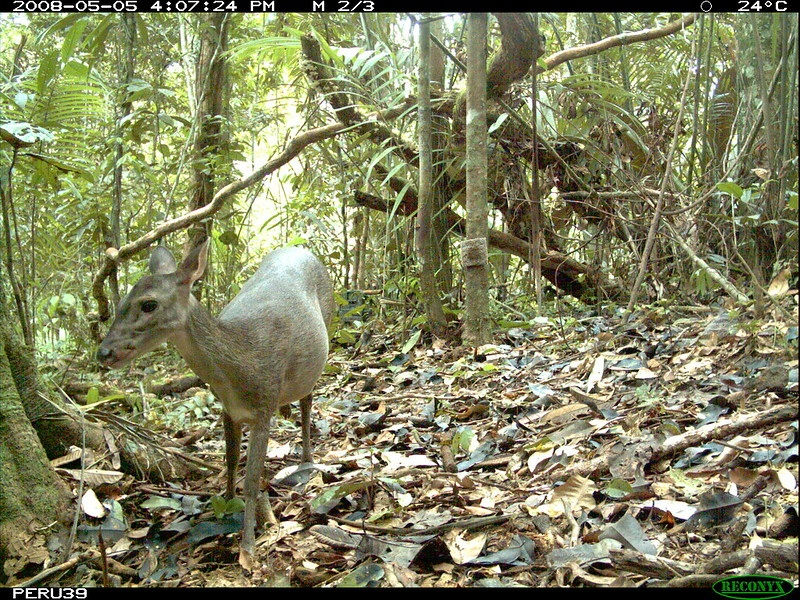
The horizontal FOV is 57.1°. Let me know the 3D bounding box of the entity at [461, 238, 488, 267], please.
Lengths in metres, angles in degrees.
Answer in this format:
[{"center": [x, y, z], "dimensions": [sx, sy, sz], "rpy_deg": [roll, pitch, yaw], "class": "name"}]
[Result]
[{"center": [0.480, -0.303, 4.684], "dimensions": [0.165, 0.187, 0.120], "rpy_deg": [-3, 6, 4], "class": "entity"}]
